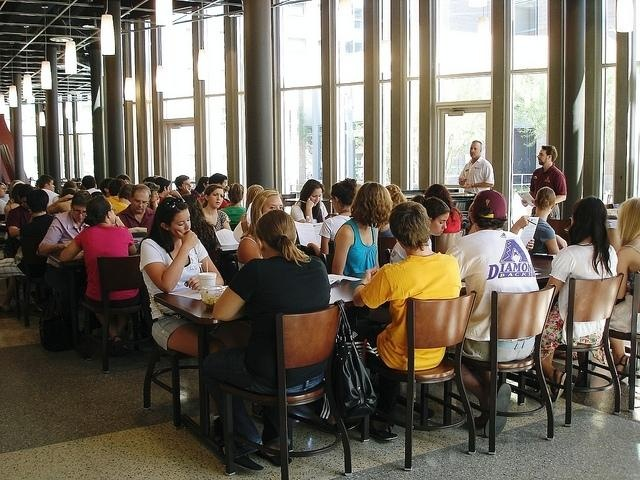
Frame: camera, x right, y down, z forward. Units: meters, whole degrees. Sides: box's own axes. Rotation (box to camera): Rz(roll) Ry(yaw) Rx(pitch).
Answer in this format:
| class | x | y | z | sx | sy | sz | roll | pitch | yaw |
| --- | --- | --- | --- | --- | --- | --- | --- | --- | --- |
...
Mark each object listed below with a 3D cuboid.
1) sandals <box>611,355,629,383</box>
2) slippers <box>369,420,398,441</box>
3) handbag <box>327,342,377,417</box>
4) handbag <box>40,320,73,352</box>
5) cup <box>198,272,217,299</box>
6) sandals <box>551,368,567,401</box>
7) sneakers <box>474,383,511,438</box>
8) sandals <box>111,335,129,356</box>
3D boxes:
| class | x | y | z | sx | sy | sz | roll | pitch | yaw |
| --- | --- | --- | --- | --- | --- | --- | --- | --- | --- |
| sandals | 2.294 | 0.973 | 4.413 | 0.121 | 0.152 | 0.368 | -3 | 0 | 22 |
| slippers | 0.409 | 1.224 | 3.748 | 0.079 | 0.088 | 0.207 | 0 | -2 | -40 |
| handbag | 0.193 | 0.797 | 3.272 | 0.257 | 0.430 | 0.125 | -1 | 11 | -2 |
| handbag | -2.413 | 0.856 | 5.251 | 0.182 | 0.358 | 0.266 | 1 | 4 | 26 |
| cup | -0.715 | 0.269 | 3.604 | 0.127 | 0.145 | 0.133 | 1 | 11 | 0 |
| sandals | 1.714 | 1.027 | 4.117 | 0.106 | 0.287 | 0.099 | 4 | 19 | 23 |
| sneakers | 1.126 | 1.070 | 3.693 | 0.142 | 0.457 | 0.170 | 6 | -7 | -8 |
| sandals | -1.779 | 0.928 | 5.130 | 0.134 | 0.140 | 0.371 | 1 | -5 | -28 |
